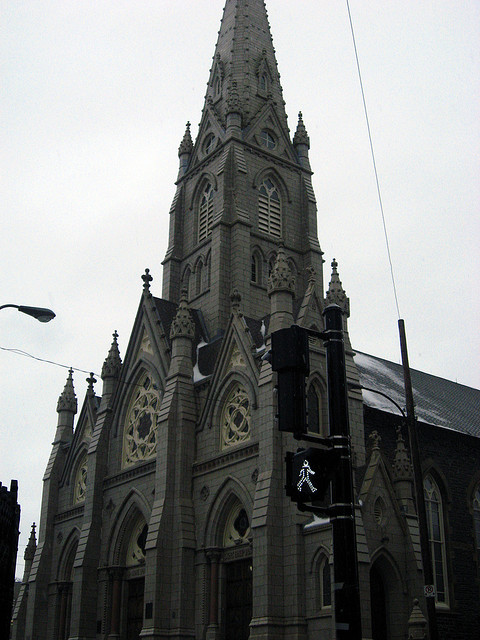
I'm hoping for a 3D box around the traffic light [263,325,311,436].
[{"bbox_3d":[0.445,0.481,6.494,0.319,1.095,0.422,1,-26,0],"label":"traffic light"}]
